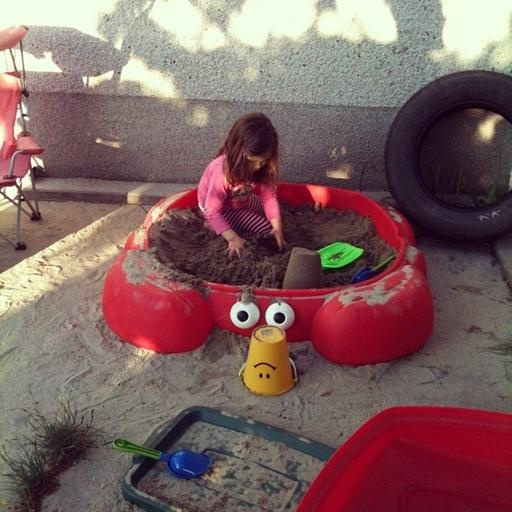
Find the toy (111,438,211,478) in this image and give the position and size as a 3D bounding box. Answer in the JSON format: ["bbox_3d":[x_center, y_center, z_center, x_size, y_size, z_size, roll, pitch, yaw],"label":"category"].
[{"bbox_3d":[-0.317,0.627,1.456,0.342,0.061,0.110,12,28,-1],"label":"toy"}]

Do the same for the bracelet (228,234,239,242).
[{"bbox_3d":[-0.112,-0.094,2.440,0.050,0.024,0.056,2,25,0],"label":"bracelet"}]

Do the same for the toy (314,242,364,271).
[{"bbox_3d":[0.433,0.005,2.467,0.196,0.040,0.159,-25,33,-31],"label":"toy"}]

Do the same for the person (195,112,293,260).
[{"bbox_3d":[-0.072,-0.396,2.479,0.453,0.683,0.587,-2,27,-7],"label":"person"}]
